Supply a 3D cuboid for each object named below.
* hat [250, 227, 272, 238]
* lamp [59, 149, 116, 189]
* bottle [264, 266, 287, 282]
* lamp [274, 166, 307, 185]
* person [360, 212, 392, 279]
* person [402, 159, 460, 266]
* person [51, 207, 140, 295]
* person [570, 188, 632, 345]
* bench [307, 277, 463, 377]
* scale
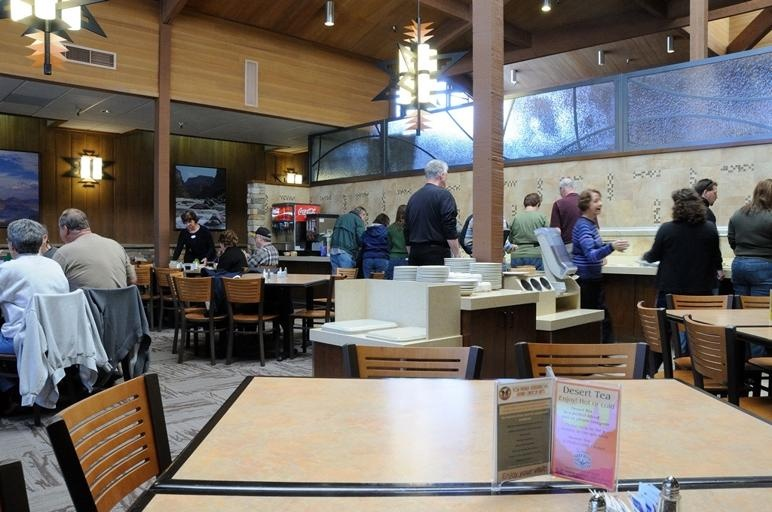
[{"bbox_3d":[-1.783,-0.332,8.468,0.226,0.127,0.309,10,5,-41],"label":"hat"},{"bbox_3d":[-6.794,-1.939,13.543,0.724,1.066,1.444,5,6,40],"label":"lamp"},{"bbox_3d":[-1.405,0.240,7.474,0.234,0.095,0.232,-1,2,0],"label":"bottle"},{"bbox_3d":[-2.542,-2.086,15.676,0.953,0.470,0.988,-1,4,-11],"label":"lamp"},{"bbox_3d":[-0.125,0.046,8.736,0.493,1.284,0.445,2,1,-2],"label":"person"},{"bbox_3d":[0.407,-0.370,5.434,0.532,0.970,0.427,3,13,11],"label":"person"},{"bbox_3d":[-2.798,-0.003,5.519,0.555,0.814,0.876,5,10,27],"label":"person"},{"bbox_3d":[2.039,0.104,5.813,0.455,1.473,1.074,4,13,17],"label":"person"},{"bbox_3d":[-0.001,0.498,3.960,1.011,0.623,0.623,2,12,5],"label":"bench"},{"bbox_3d":[1.539,-0.002,5.421,0.403,0.509,0.368,2,5,9],"label":"scale"}]
